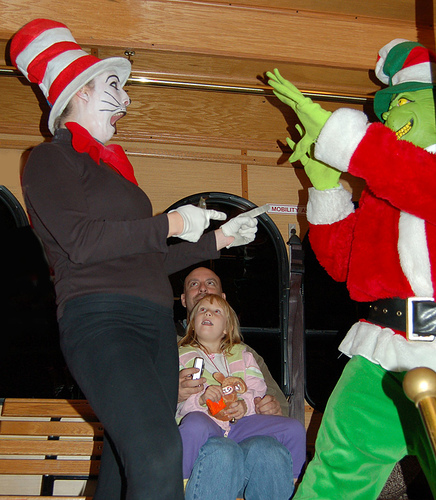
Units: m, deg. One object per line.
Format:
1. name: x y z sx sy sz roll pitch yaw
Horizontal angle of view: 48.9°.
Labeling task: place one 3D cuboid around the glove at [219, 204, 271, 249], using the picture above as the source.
1. glove: 0.125 -0.099 1.838 0.223 0.084 0.112 -24 -50 27

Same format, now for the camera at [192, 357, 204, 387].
1. camera: -0.094 0.536 2.181 0.049 0.079 0.101 -3 3 5

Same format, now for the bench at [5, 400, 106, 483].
1. bench: -0.995 1.130 2.879 0.549 0.384 0.414 -3 3 -13
